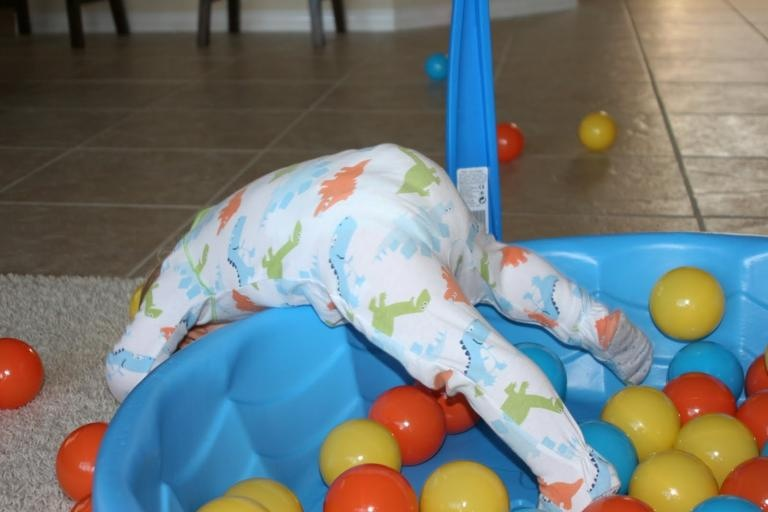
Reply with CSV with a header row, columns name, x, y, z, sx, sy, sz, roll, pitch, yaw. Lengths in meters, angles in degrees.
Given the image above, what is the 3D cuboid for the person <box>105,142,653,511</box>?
name,x,y,z,sx,sy,sz,roll,pitch,yaw
person,-0.039,0.042,1.680,1.113,0.555,0.668,16,31,16
